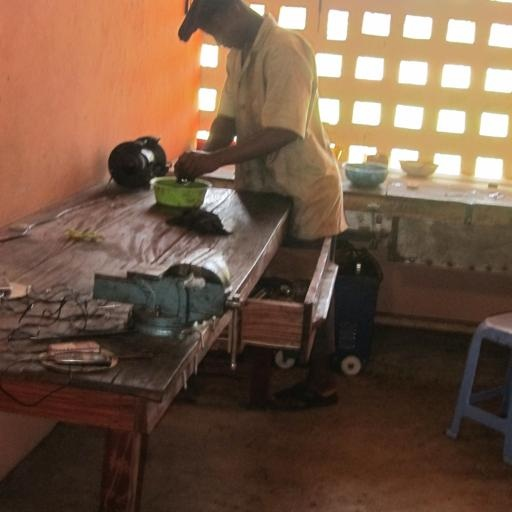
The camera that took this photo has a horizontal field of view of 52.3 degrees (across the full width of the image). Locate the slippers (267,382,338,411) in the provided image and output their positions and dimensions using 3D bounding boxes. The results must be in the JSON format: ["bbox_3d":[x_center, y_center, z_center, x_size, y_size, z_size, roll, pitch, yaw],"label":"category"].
[{"bbox_3d":[0.249,0.764,2.818,0.372,0.157,0.144,0,-1,0],"label":"slippers"}]

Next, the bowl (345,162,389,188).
[{"bbox_3d":[0.715,-0.526,3.403,0.276,0.146,0.318,8,13,13],"label":"bowl"}]

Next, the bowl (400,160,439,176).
[{"bbox_3d":[1.153,-0.608,3.692,0.230,0.109,0.146,2,13,-12],"label":"bowl"}]
